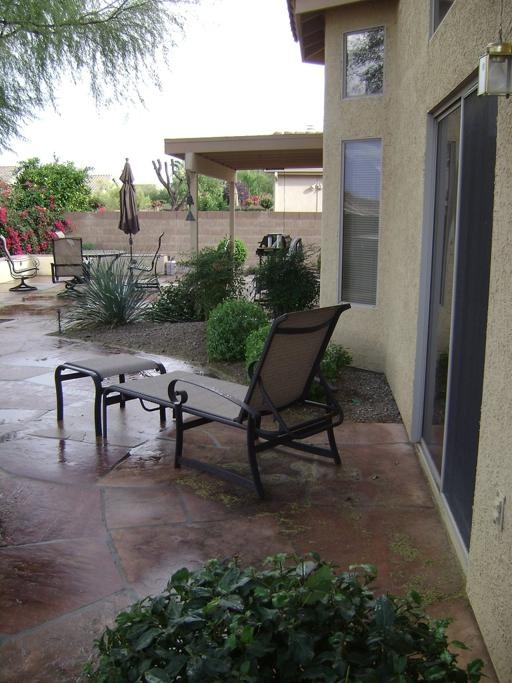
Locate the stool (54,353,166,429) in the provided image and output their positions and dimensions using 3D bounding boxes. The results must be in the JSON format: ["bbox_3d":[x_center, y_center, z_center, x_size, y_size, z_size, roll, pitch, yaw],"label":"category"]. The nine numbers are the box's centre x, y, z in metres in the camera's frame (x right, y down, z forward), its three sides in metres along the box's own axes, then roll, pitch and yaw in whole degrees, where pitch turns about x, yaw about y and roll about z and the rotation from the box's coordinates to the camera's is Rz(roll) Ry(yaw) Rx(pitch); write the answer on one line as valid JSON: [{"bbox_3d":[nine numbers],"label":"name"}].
[{"bbox_3d":[-1.311,0.267,4.441,0.726,0.538,0.761,6,11,34],"label":"stool"}]

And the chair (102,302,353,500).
[{"bbox_3d":[-0.208,0.235,3.958,1.991,1.258,0.991,10,11,41],"label":"chair"}]
